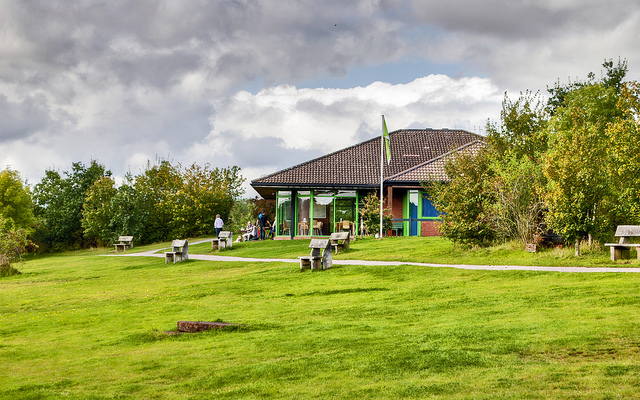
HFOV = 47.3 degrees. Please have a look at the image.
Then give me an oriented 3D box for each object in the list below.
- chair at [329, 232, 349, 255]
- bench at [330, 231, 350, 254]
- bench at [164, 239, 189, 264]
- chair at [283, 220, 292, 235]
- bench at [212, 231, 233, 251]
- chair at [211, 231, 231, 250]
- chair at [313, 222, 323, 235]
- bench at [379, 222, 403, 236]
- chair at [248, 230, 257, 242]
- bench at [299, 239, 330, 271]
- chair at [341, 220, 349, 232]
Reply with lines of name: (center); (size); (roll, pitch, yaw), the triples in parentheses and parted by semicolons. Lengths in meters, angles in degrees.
chair: (1.081, 2.425, 41.507); (1.253, 1.068, 1.060); (-6, -7, 43)
bench: (1.155, 2.372, 41.728); (1.149, 0.986, 1.077); (-5, -7, 30)
bench: (-8.670, 2.969, 43.252); (1.246, 1.592, 1.461); (-2, -6, 18)
chair: (-2.441, 1.962, 53.489); (0.538, 1.019, 0.643); (-5, 14, -2)
bench: (-6.473, 2.688, 48.117); (1.315, 1.402, 1.206); (-4, -8, 35)
chair: (-6.622, 2.600, 48.044); (1.107, 1.503, 1.180); (-4, -8, 38)
chair: (0.000, 1.977, 53.535); (0.754, 1.019, 0.788); (-3, -8, 24)
bench: (5.223, 2.108, 51.629); (1.254, 1.171, 0.905); (0, -7, -4)
chair: (-5.003, 2.597, 54.140); (0.302, 0.667, 0.953); (9, 19, 43)
bench: (-0.074, 2.654, 35.632); (1.415, 1.529, 1.468); (-5, -10, 31)
chair: (1.789, 1.776, 51.604); (0.463, 0.570, 0.859); (0, -2, 4)
